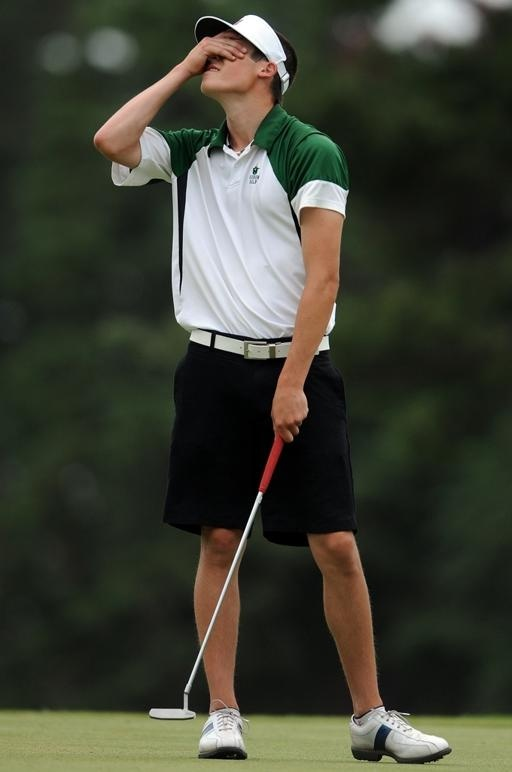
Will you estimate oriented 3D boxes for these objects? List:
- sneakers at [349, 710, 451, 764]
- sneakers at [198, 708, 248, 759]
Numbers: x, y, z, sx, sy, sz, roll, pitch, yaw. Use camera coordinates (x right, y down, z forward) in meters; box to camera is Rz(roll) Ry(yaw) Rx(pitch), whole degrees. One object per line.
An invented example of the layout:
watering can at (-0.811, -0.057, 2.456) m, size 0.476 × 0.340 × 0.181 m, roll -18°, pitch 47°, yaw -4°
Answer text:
sneakers at (0.244, 0.632, 1.666) m, size 0.222 × 0.099 × 0.074 m, roll -5°, pitch -5°, yaw 29°
sneakers at (-0.058, 0.624, 1.616) m, size 0.082 × 0.054 × 0.147 m, roll 2°, pitch 14°, yaw -1°
